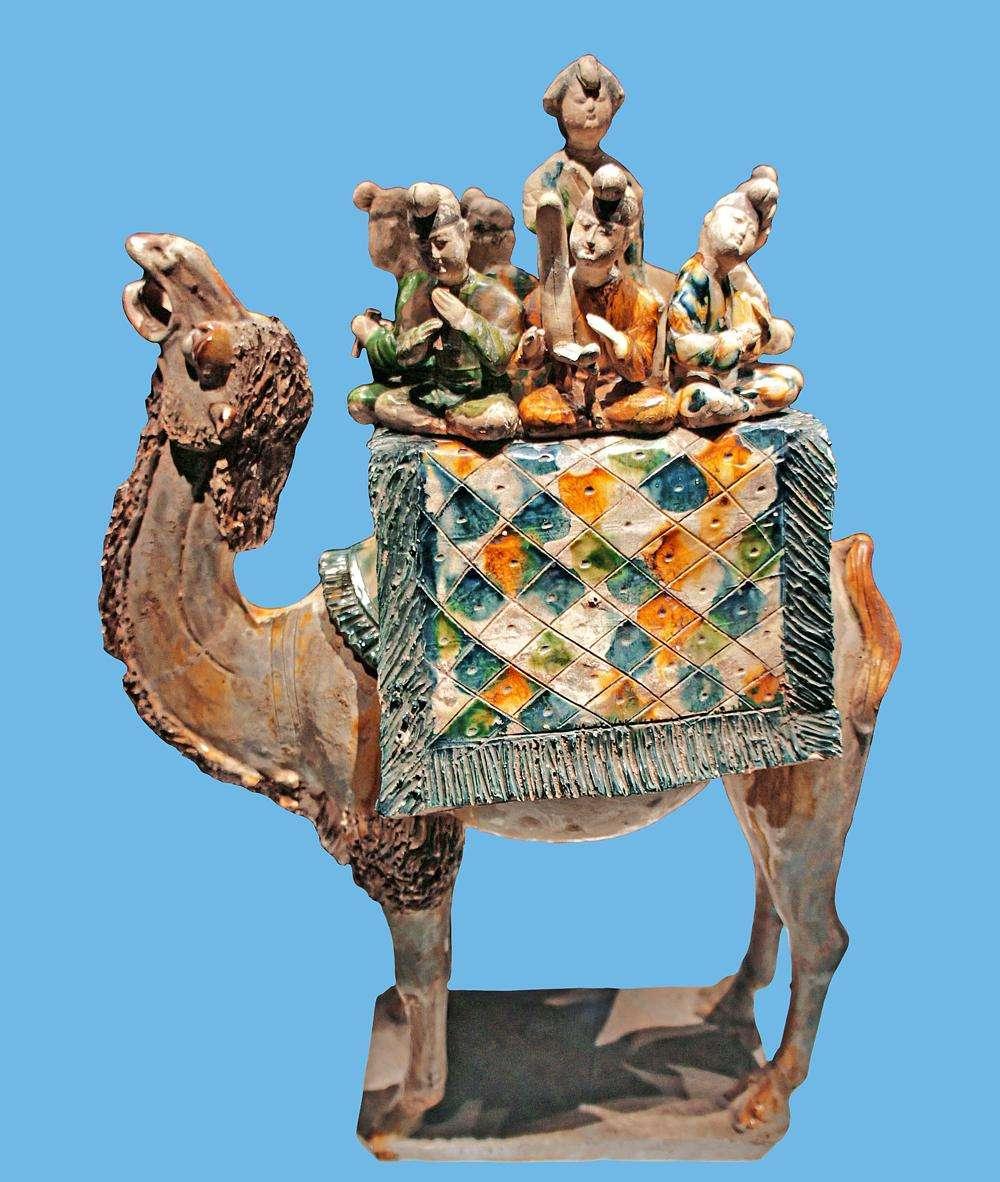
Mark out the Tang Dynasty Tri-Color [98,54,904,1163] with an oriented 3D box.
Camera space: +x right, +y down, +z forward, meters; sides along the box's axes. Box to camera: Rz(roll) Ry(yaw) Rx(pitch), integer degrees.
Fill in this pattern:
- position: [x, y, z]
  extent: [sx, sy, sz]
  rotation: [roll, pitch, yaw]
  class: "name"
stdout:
- position: [0.038, -0.027, 9.755]
  extent: [1.748, 2.535, 0.900]
  rotation: [-1, 31, -2]
  class: "Tang Dynasty Tri-Color"
